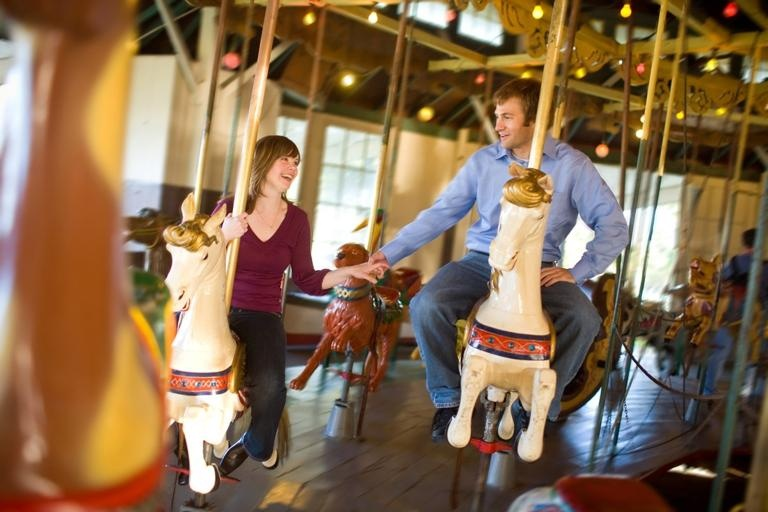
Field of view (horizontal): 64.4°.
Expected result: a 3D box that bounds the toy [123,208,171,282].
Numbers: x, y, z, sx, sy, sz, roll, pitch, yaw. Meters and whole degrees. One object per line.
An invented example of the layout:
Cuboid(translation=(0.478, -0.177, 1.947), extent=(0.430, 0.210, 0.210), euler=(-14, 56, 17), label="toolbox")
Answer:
Cuboid(translation=(-1.353, -0.072, 3.497), extent=(0.192, 0.456, 0.306), euler=(15, -27, -19), label="toy")

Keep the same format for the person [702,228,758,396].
Cuboid(translation=(1.966, 0.350, 3.485), extent=(0.214, 1.080, 0.644), euler=(10, 6, 29), label="person")

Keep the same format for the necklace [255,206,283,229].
Cuboid(translation=(-0.488, -0.163, 2.591), extent=(0.105, 0.089, 0.032), euler=(-4, -2, -21), label="necklace")
